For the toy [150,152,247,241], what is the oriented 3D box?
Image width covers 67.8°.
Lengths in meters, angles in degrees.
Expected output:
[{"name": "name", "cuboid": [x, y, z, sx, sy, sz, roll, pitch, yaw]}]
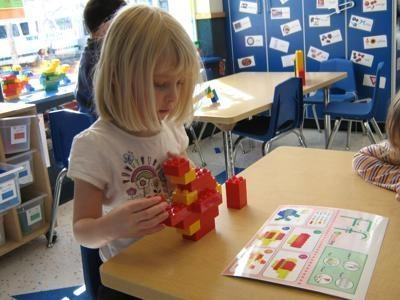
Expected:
[{"name": "toy", "cuboid": [-0.003, 0.138, 0.910, 0.078, 0.229, 0.251, 10, 24, 28]}]

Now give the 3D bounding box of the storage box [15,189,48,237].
[{"name": "storage box", "cuboid": [-1.273, 0.466, 2.349, 0.227, 0.272, 0.310, -3, 11, 18]}]

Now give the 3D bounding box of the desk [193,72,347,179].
[{"name": "desk", "cuboid": [0.705, -0.273, 2.570, 0.840, 0.390, 0.478, -17, 8, 15]}]

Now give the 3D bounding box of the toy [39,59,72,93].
[{"name": "toy", "cuboid": [-1.525, -0.808, 3.108, 0.266, 0.130, 0.353, 0, 37, -10]}]

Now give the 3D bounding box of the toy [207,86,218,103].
[{"name": "toy", "cuboid": [0.105, -0.486, 2.541, 0.097, 0.143, 0.187, -6, 19, 2]}]

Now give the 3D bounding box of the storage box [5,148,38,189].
[{"name": "storage box", "cuboid": [-1.314, 0.116, 2.264, 0.274, 0.212, 0.228, 3, 12, 27]}]
